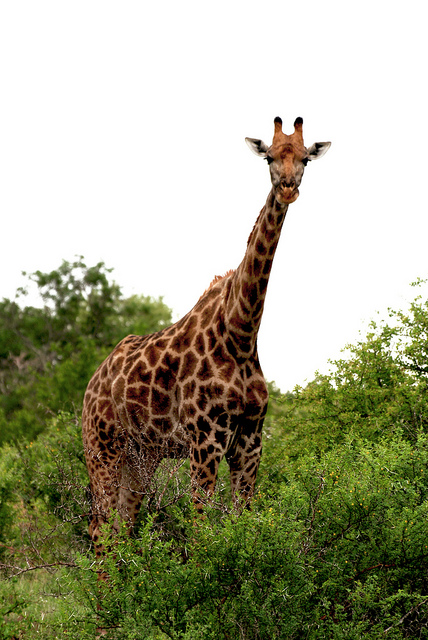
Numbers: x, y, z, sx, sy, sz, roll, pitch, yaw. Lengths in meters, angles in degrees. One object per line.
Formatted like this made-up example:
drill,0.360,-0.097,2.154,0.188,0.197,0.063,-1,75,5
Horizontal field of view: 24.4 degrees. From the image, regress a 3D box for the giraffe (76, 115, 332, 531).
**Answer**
giraffe,-0.189,0.417,8.737,1.264,3.124,3.285,12,-31,-18
